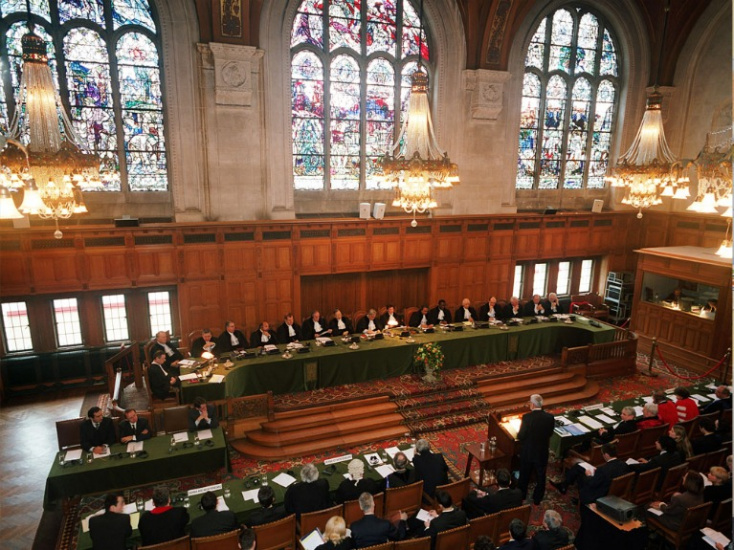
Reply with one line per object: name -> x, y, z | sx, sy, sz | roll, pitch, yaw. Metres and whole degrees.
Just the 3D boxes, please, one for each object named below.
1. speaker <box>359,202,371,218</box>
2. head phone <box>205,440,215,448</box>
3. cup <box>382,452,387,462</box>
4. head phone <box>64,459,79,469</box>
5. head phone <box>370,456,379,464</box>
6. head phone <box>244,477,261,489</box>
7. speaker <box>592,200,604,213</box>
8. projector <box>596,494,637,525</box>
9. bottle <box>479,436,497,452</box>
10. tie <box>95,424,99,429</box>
speaker -> -0.067, -2.091, 16.724 | 0.445, 0.604, 0.435 | 3, 19, 2
head phone -> -3.477, 3.704, 11.302 | 0.213, 0.059, 0.296 | -7, 12, -19
cup -> 0.359, 3.866, 10.848 | 0.091, 0.156, 0.095 | -2, 7, 0
head phone -> -6.037, 3.858, 10.520 | 0.280, 0.054, 0.165 | -5, 11, -12
head phone -> 0.161, 3.877, 10.727 | 0.172, 0.065, 0.209 | -3, 11, -3
head phone -> -2.247, 4.090, 10.077 | 0.195, 0.061, 0.151 | -8, 19, -33
speaker -> 8.812, -2.610, 19.777 | 0.332, 0.462, 0.343 | 2, 12, 20
projector -> 4.502, 4.265, 9.395 | 0.375, 0.281, 0.600 | -13, 15, -42
bottle -> 2.652, 3.777, 11.490 | 0.329, 0.352, 0.249 | -7, 17, -24
tie -> -5.804, 3.268, 11.061 | 0.074, 0.106, 0.025 | 0, 6, -15
